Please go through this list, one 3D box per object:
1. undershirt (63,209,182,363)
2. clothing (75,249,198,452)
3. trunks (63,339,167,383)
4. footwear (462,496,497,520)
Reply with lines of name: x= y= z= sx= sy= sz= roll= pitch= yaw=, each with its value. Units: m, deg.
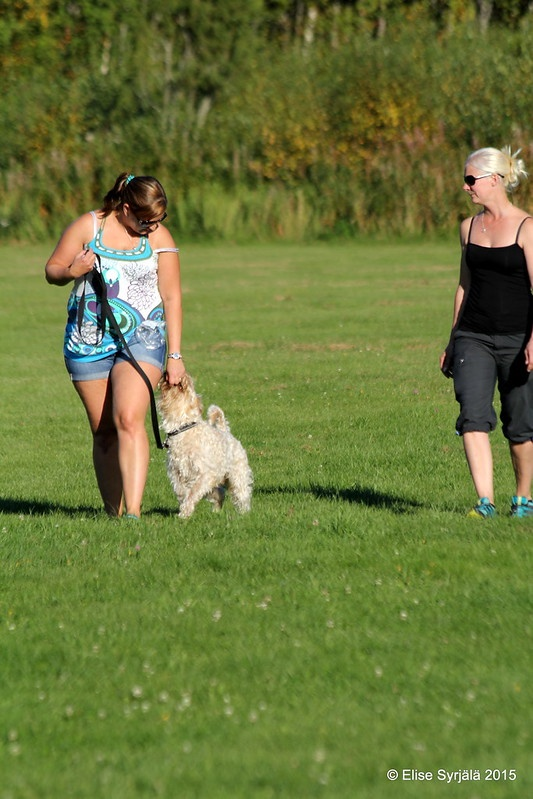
undershirt: x=-0.838 y=-0.662 z=6.010 sx=0.710 sy=0.872 sz=0.466 roll=3 pitch=23 yaw=-7
clothing: x=-0.797 y=-0.237 z=6.081 sx=0.422 sy=1.262 sz=0.547 roll=2 pitch=16 yaw=19
trunks: x=-0.858 y=-0.214 z=5.941 sx=0.417 sy=0.164 sz=0.294 roll=-1 pitch=-3 yaw=-31
footwear: x=1.309 y=0.666 z=6.139 sx=0.187 sy=0.113 sz=0.094 roll=5 pitch=-7 yaw=-37
